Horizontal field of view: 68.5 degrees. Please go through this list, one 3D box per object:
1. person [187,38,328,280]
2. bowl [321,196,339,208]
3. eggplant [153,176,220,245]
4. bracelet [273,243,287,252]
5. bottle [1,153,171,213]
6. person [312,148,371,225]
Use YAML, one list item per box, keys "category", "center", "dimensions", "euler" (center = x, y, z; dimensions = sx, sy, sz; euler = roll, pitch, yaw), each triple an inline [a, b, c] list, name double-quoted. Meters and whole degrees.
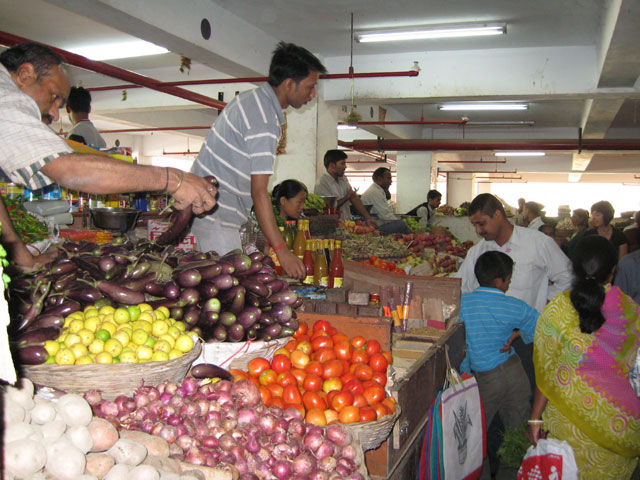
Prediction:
- category: "person"
  center: [-0.354, -0.474, 2.917]
  dimensions: [0.707, 1.542, 0.685]
  euler: [6, 9, 0]
- category: "bowl"
  center: [0.124, -0.491, 6.094]
  dimensions: [0.156, 0.105, 0.158]
  euler: [-4, 2, 0]
- category: "eggplant"
  center: [-0.590, -0.123, 2.034]
  dimensions: [0.248, 0.310, 0.359]
  euler: [3, 11, 8]
- category: "bracelet"
  center: [-0.231, 0.047, 2.747]
  dimensions: [0.065, 0.058, 0.048]
  euler: [0, 0, 22]
- category: "bottle"
  center: [-0.796, -0.228, 1.802]
  dimensions: [0.771, 0.215, 0.184]
  euler: [3, 11, -13]
- category: "person"
  center: [0.402, -0.764, 6.954]
  dimensions: [0.695, 1.185, 0.672]
  euler: [11, 7, 44]
